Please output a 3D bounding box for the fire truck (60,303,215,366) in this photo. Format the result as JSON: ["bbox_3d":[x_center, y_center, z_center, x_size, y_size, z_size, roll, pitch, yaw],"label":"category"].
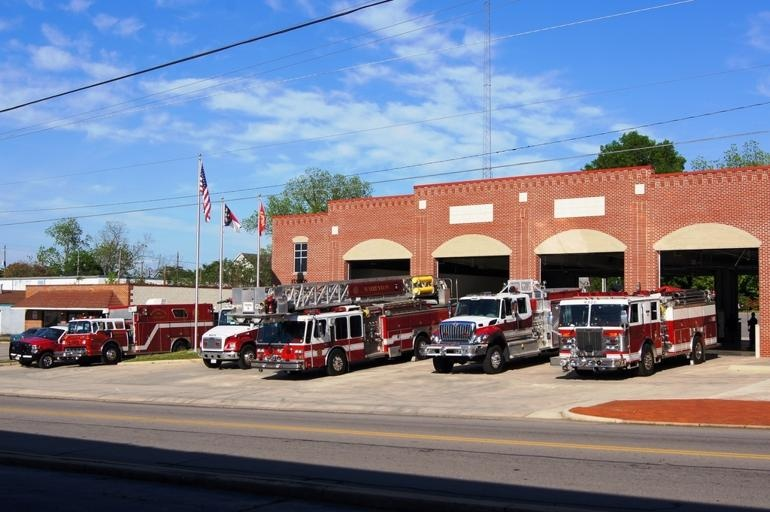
[{"bbox_3d":[-15.745,3.155,45.441,3.335,2.873,9.079,-6,-6,37],"label":"fire truck"}]

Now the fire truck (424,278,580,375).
[{"bbox_3d":[5.219,3.062,34.529,3.525,3.650,9.902,-3,-4,36],"label":"fire truck"}]

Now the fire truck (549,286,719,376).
[{"bbox_3d":[11.412,3.182,34.118,10.010,3.079,2.776,0,-2,-45],"label":"fire truck"}]

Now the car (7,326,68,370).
[{"bbox_3d":[-18.779,5.147,42.957,3.140,2.280,5.559,1,-3,5],"label":"car"}]
